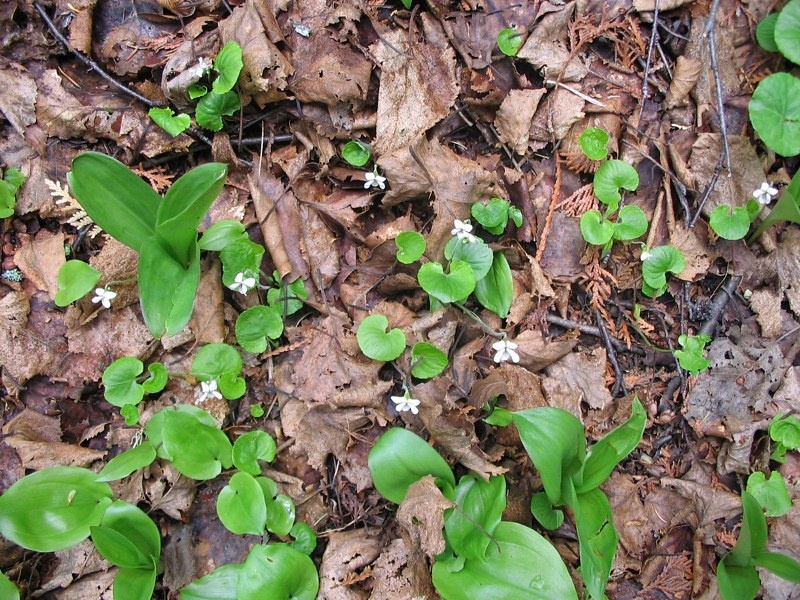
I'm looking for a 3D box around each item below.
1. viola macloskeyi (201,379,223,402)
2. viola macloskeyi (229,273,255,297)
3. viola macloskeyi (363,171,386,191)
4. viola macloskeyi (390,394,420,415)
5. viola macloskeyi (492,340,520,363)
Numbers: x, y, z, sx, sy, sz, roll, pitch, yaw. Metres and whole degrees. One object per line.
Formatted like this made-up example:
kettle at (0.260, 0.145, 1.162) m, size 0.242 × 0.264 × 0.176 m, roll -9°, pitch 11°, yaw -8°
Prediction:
viola macloskeyi at (-1.206, 0.569, 4.582) m, size 0.117 × 0.137 × 0.147 m, roll 3°, pitch 100°, yaw -17°
viola macloskeyi at (-1.003, -0.097, 4.615) m, size 0.131 × 0.063 × 0.167 m, roll 3°, pitch 62°, yaw 29°
viola macloskeyi at (-0.164, -0.797, 4.797) m, size 0.154 × 0.166 × 0.120 m, roll 0°, pitch 77°, yaw -3°
viola macloskeyi at (0.039, 0.651, 4.509) m, size 0.130 × 0.045 × 0.164 m, roll 2°, pitch 112°, yaw -2°
viola macloskeyi at (0.697, 0.334, 4.620) m, size 0.205 × 0.280 × 0.149 m, roll -2°, pitch 77°, yaw -3°
